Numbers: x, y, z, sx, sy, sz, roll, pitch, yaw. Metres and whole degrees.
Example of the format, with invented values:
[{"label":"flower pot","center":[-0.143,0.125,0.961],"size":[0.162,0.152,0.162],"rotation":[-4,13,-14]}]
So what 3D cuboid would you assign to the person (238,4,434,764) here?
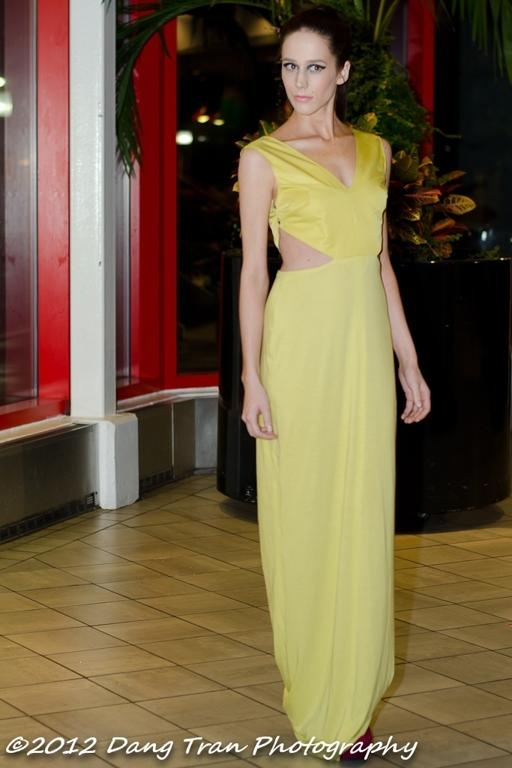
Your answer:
[{"label":"person","center":[0.141,0.034,1.173],"size":[0.380,1.247,0.298],"rotation":[1,-1,-11]}]
